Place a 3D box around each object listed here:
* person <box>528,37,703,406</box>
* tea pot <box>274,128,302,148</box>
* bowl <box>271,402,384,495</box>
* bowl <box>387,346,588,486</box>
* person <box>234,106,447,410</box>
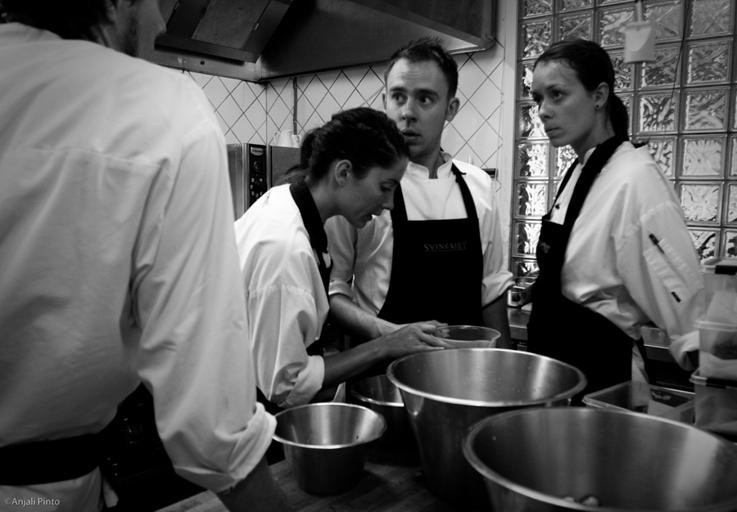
[{"bbox_3d":[0.836,-0.140,1.866,0.324,1.205,0.690,0,4,-35],"label":"person"},{"bbox_3d":[-0.589,-0.856,4.124,0.230,0.171,0.262,1,9,10],"label":"tea pot"},{"bbox_3d":[-0.121,0.467,1.329,0.286,0.160,0.297,5,2,0],"label":"bowl"},{"bbox_3d":[0.259,0.325,1.313,0.303,0.197,0.323,0,4,0],"label":"bowl"},{"bbox_3d":[-0.077,0.035,1.675,0.592,0.932,0.604,9,14,25],"label":"person"}]
